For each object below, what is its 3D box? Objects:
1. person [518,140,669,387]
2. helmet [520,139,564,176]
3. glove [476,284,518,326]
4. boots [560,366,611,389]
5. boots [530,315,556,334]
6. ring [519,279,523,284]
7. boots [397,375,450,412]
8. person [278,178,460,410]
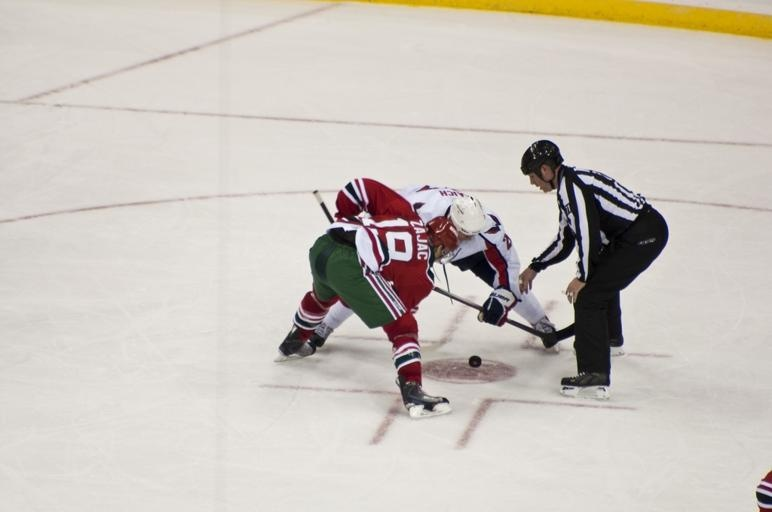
[{"bbox_3d":[1.553,0.056,9.506,0.861,1.571,1.170,-9,33,-23],"label":"person"},{"bbox_3d":[1.133,-0.719,9.524,0.299,0.254,0.220,1,-1,1],"label":"helmet"},{"bbox_3d":[0.855,0.365,9.994,0.196,0.265,0.316,23,34,26],"label":"glove"},{"bbox_3d":[1.449,0.861,9.458,0.401,0.157,0.124,4,2,12],"label":"boots"},{"bbox_3d":[1.230,0.522,10.146,0.120,0.069,0.159,27,-1,22],"label":"boots"},{"bbox_3d":[1.028,0.185,9.977,0.030,0.037,0.012,0,-3,12],"label":"ring"},{"bbox_3d":[0.263,0.986,9.173,0.402,0.230,0.209,6,30,1],"label":"boots"},{"bbox_3d":[-0.036,0.220,9.693,1.055,1.455,1.562,-5,18,-40],"label":"person"}]
